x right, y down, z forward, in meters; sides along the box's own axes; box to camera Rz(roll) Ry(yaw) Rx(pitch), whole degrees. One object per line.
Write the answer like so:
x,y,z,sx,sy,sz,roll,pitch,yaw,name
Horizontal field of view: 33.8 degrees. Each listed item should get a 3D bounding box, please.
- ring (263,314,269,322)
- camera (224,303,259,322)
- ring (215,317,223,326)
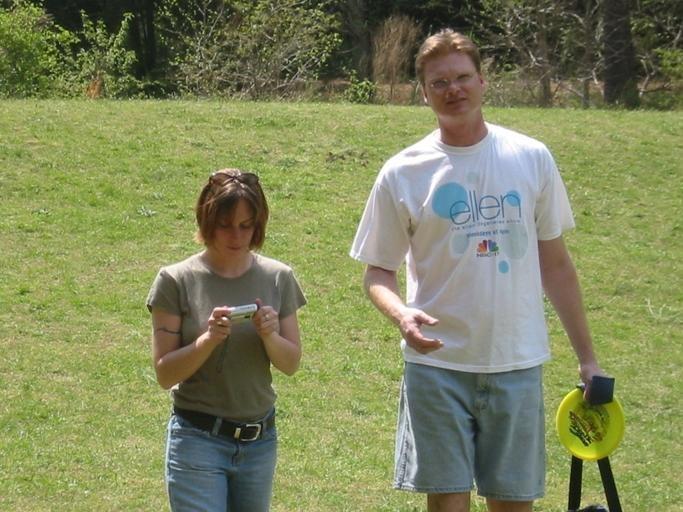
-0.711,0.583,10.675,0.058,0.053,0.005,-2,6,-8,ring
-0.938,0.534,10.626,0.374,0.113,0.128,-13,-32,-4,camera
-1.155,0.612,10.585,0.064,0.087,0.020,1,1,15,ring
